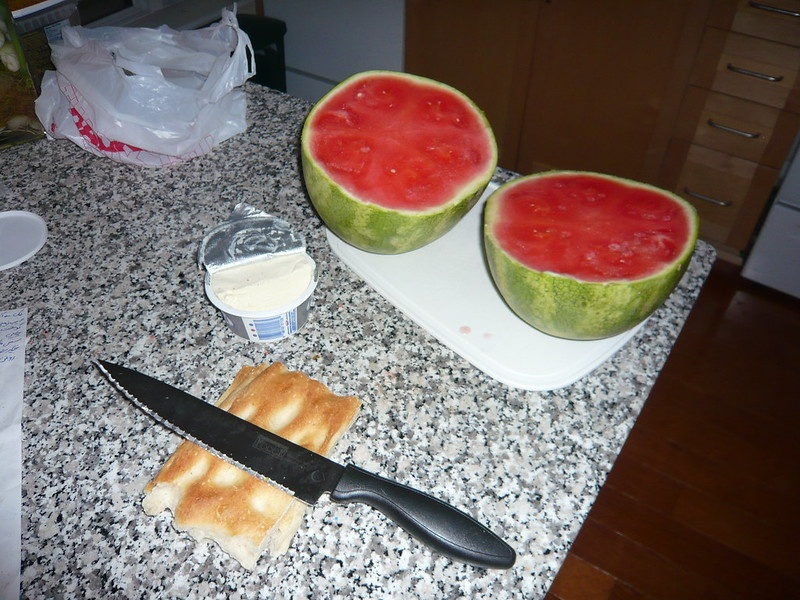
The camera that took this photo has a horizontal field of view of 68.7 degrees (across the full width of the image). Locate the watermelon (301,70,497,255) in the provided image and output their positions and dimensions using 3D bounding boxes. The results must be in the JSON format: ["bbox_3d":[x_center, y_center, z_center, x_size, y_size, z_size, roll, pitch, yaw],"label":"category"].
[{"bbox_3d":[-0.014,-0.233,1.153,0.352,0.236,0.396,-9,55,-13],"label":"watermelon"}]

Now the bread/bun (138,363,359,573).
[{"bbox_3d":[-0.220,0.244,0.891,0.218,0.081,0.301,24,62,20],"label":"bread/bun"}]

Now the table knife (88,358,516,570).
[{"bbox_3d":[-0.158,0.264,0.899,0.507,0.041,0.080,24,39,11],"label":"table knife"}]

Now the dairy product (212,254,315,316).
[{"bbox_3d":[-0.230,-0.022,0.989,0.177,0.037,0.090,-13,54,-7],"label":"dairy product"}]

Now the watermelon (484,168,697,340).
[{"bbox_3d":[0.290,-0.105,0.994,0.280,0.186,0.287,-25,43,-26],"label":"watermelon"}]
